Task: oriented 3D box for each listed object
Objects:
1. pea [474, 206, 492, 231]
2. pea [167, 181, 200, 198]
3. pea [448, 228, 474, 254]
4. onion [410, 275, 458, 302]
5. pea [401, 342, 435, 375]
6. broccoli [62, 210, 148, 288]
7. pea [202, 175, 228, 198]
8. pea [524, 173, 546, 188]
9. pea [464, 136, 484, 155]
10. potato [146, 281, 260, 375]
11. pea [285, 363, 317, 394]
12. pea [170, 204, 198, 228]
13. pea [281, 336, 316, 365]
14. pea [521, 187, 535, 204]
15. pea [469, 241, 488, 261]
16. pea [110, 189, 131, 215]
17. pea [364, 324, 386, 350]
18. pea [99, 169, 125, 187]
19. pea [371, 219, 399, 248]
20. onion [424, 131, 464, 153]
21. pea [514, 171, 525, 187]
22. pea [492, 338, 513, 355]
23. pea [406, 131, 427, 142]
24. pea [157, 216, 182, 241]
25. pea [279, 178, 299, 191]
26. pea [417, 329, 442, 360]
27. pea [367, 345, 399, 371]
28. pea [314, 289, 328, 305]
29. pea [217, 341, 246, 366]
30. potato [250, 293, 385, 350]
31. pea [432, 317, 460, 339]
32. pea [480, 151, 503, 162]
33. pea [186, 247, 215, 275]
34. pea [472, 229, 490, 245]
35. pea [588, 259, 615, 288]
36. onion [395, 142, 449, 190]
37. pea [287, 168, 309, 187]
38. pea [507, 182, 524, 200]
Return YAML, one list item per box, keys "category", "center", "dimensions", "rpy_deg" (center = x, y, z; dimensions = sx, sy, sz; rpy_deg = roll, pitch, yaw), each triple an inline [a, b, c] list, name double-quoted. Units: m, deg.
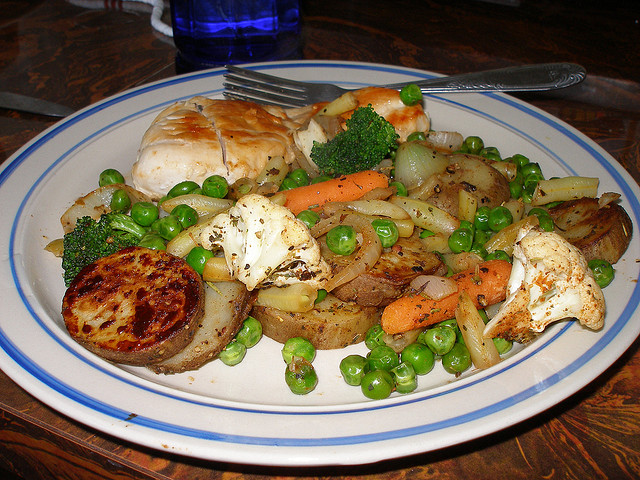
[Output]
- category: "pea"
  center: [1.450, -0.182, 4.730]
  dimensions: [0.165, 0.185, 0.102]
  rpy_deg: [11, 42, 21]
- category: "pea"
  center: [-1.205, -0.464, 4.734]
  dimensions: [0.253, 0.084, 0.124]
  rpy_deg: [-21, 52, -5]
- category: "pea"
  center: [1.192, 0.006, 4.470]
  dimensions: [0.186, 0.123, 0.212]
  rpy_deg: [8, 69, 7]
- category: "onion"
  center: [0.885, 0.371, 4.101]
  dimensions: [0.351, 0.123, 0.217]
  rpy_deg: [11, 65, 1]
- category: "pea"
  center: [0.722, 0.911, 4.090]
  dimensions: [0.286, 0.280, 0.242]
  rpy_deg: [-1, 88, -21]
- category: "broccoli"
  center: [-1.772, 0.004, 4.313]
  dimensions: [0.761, 0.558, 0.536]
  rpy_deg: [-13, 20, -36]
- category: "pea"
  center: [-0.919, -0.470, 4.685]
  dimensions: [0.176, 0.113, 0.211]
  rpy_deg: [-3, 21, -6]
- category: "pea"
  center: [2.050, -0.571, 5.056]
  dimensions: [0.174, 0.114, 0.125]
  rpy_deg: [-5, 16, 16]
- category: "pea"
  center: [1.563, -0.963, 5.375]
  dimensions: [0.196, 0.204, 0.187]
  rpy_deg: [-5, 40, 7]
- category: "potato"
  center: [-0.803, 0.654, 3.908]
  dimensions: [0.598, 0.184, 0.766]
  rpy_deg: [33, 60, 23]
- category: "pea"
  center: [-0.131, 1.012, 3.854]
  dimensions: [0.232, 0.161, 0.192]
  rpy_deg: [1, 65, -3]
- category: "pea"
  center: [-1.123, -0.202, 4.420]
  dimensions: [0.214, 0.124, 0.194]
  rpy_deg: [2, 44, -13]
- category: "pea"
  center: [-0.158, 0.837, 4.064]
  dimensions: [0.253, 0.161, 0.209]
  rpy_deg: [-5, 66, -6]
- category: "pea"
  center: [1.936, -0.423, 4.933]
  dimensions: [0.058, 0.138, 0.100]
  rpy_deg: [2, 59, -28]
- category: "pea"
  center: [1.381, 0.090, 4.622]
  dimensions: [0.143, 0.077, 0.156]
  rpy_deg: [19, 19, -2]
- category: "pea"
  center: [-1.741, -0.331, 4.685]
  dimensions: [0.174, 0.213, 0.159]
  rpy_deg: [6, 47, -21]
- category: "pea"
  center: [0.426, 0.757, 4.162]
  dimensions: [0.143, 0.073, 0.178]
  rpy_deg: [-6, 45, 45]
- category: "pea"
  center: [-1.914, -0.578, 4.961]
  dimensions: [0.174, 0.169, 0.199]
  rpy_deg: [18, 15, -14]
- category: "pea"
  center: [0.509, -0.056, 4.310]
  dimensions: [0.191, 0.151, 0.222]
  rpy_deg: [-7, 80, -19]
- category: "onion"
  center: [1.254, -0.990, 5.333]
  dimensions: [0.310, 0.093, 0.218]
  rpy_deg: [1, 42, 5]
- category: "pea"
  center: [1.926, -0.595, 5.165]
  dimensions: [0.111, 0.074, 0.129]
  rpy_deg: [-4, 46, 0]
- category: "pea"
  center: [1.404, 0.804, 4.066]
  dimensions: [0.133, 0.080, 0.152]
  rpy_deg: [-3, 17, -19]
- category: "pea"
  center: [0.962, -1.032, 5.329]
  dimensions: [0.144, 0.069, 0.110]
  rpy_deg: [-6, 10, -10]
- category: "pea"
  center: [-1.235, -0.091, 4.365]
  dimensions: [0.163, 0.111, 0.196]
  rpy_deg: [-16, 41, 0]
- category: "pea"
  center: [-0.281, -0.515, 4.908]
  dimensions: [0.156, 0.078, 0.120]
  rpy_deg: [9, 20, 30]
- category: "pea"
  center: [0.850, 0.799, 4.084]
  dimensions: [0.191, 0.114, 0.201]
  rpy_deg: [-1, 91, -1]
- category: "pea"
  center: [0.483, 0.888, 3.999]
  dimensions: [0.202, 0.104, 0.164]
  rpy_deg: [-7, 10, 18]
- category: "pea"
  center: [0.006, 0.431, 4.169]
  dimensions: [0.078, 0.135, 0.044]
  rpy_deg: [24, 12, -20]
- category: "pea"
  center: [-0.645, 0.844, 3.956]
  dimensions: [0.190, 0.093, 0.184]
  rpy_deg: [28, 44, 34]
- category: "potato"
  center: [-0.047, 0.633, 4.123]
  dimensions: [0.815, 0.248, 0.543]
  rpy_deg: [-10, 17, -30]
- category: "pea"
  center: [1.010, 0.668, 4.184]
  dimensions: [0.179, 0.069, 0.168]
  rpy_deg: [-15, 16, -18]
- category: "pea"
  center: [1.710, -0.834, 5.261]
  dimensions: [0.144, 0.054, 0.131]
  rpy_deg: [2, 18, -18]
- category: "pea"
  center: [-0.902, 0.165, 4.051]
  dimensions: [0.120, 0.129, 0.170]
  rpy_deg: [-52, 35, -9]
- category: "pea"
  center: [1.440, -0.028, 4.731]
  dimensions: [0.155, 0.074, 0.140]
  rpy_deg: [10, 31, -1]
- category: "pea"
  center: [2.200, 0.250, 4.180]
  dimensions: [0.241, 0.132, 0.235]
  rpy_deg: [7, 23, 5]
- category: "onion"
  center: [0.901, -0.710, 5.025]
  dimensions: [0.610, 0.389, 0.352]
  rpy_deg: [-6, 16, -16]
- category: "pea"
  center: [-0.188, -0.596, 5.147]
  dimensions: [0.161, 0.207, 0.156]
  rpy_deg: [27, 94, 7]
- category: "pea"
  center: [1.852, -0.472, 5.096]
  dimensions: [0.175, 0.146, 0.161]
  rpy_deg: [4, 18, -1]
